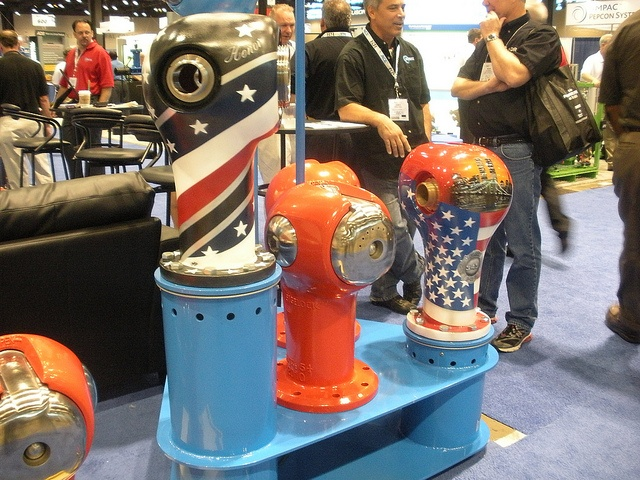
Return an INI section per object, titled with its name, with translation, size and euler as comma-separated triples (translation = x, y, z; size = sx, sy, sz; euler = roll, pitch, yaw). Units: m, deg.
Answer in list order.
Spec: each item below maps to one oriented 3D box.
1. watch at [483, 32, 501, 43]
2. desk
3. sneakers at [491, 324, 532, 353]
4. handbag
[watch]
translation = 0.884, -1.055, 2.732
size = 0.045, 0.049, 0.013
euler = 3, -9, 35
[desk]
translation = -0.065, -0.601, 3.048
size = 0.573, 0.381, 0.571
euler = -15, 26, -35
[sneakers]
translation = 1.036, 0.544, 2.892
size = 0.248, 0.116, 0.110
euler = -7, 27, -41
[handbag]
translation = 1.224, -0.641, 2.701
size = 0.321, 0.489, 0.218
euler = -7, 19, -15
